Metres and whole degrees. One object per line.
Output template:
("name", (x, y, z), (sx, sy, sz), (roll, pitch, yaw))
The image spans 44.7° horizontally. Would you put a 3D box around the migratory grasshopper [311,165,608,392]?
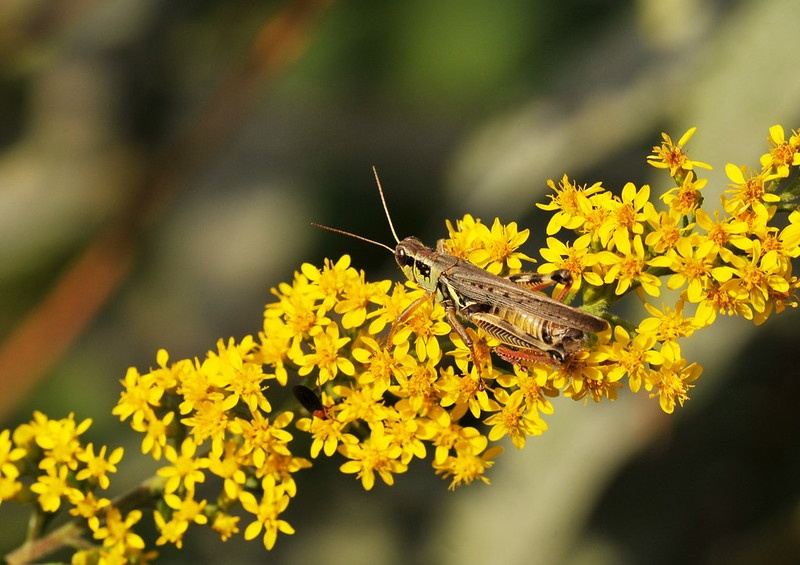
("migratory grasshopper", (0.422, 0.108, 6.179), (1.694, 0.920, 0.561), (27, -82, -11))
